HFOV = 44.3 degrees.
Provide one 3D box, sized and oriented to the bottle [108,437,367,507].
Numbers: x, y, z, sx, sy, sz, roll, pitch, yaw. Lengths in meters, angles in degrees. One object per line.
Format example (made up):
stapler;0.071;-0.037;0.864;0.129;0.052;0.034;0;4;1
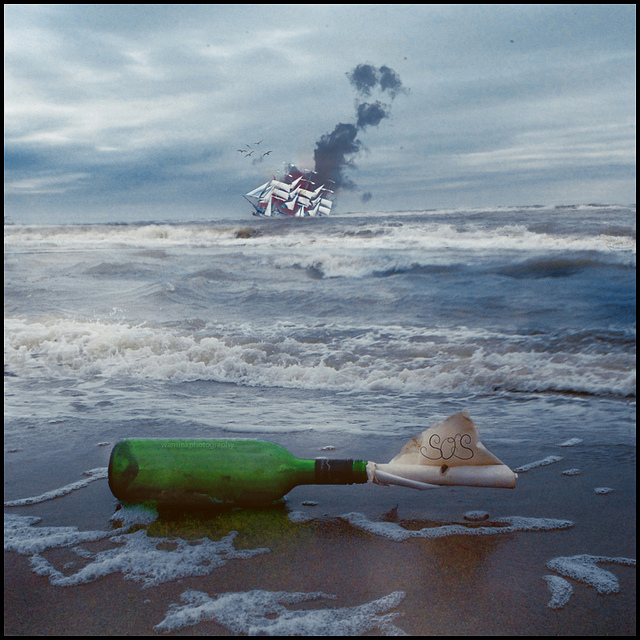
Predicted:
bottle;-0.556;0.793;4.349;1.796;0.393;0.447;0;-2;2

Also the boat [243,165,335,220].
boat;-0.410;-1.969;11.315;1.424;0.570;0.714;-4;-36;-18
